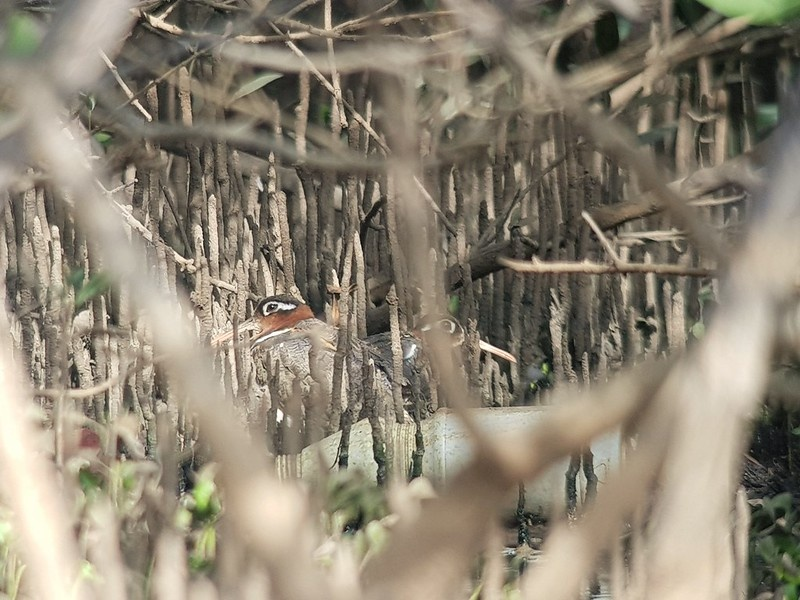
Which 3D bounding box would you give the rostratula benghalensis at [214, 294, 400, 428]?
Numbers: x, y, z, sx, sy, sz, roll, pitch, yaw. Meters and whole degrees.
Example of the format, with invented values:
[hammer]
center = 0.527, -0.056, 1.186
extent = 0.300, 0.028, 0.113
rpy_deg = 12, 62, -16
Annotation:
[rostratula benghalensis]
center = -0.202, 0.183, 5.261
extent = 0.796, 0.304, 0.331
rpy_deg = 6, 29, 11
